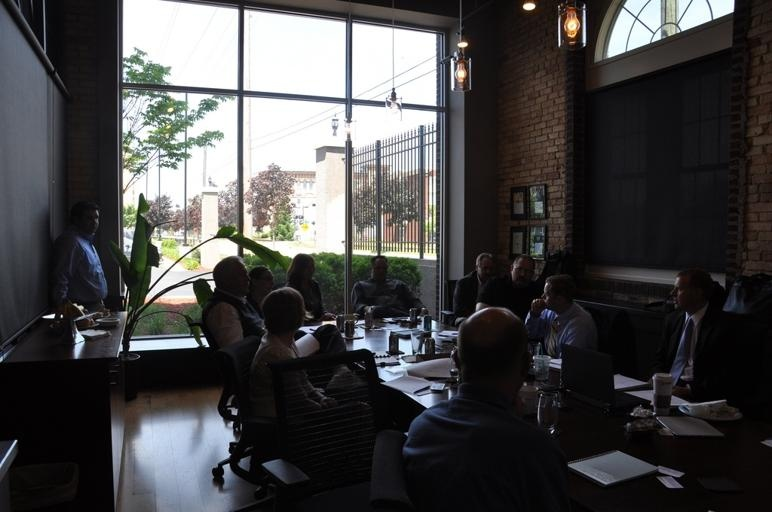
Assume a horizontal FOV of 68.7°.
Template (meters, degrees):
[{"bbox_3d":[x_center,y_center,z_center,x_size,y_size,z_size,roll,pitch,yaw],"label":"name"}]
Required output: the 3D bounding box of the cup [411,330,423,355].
[{"bbox_3d":[0.271,0.747,4.809,0.125,0.161,0.135,-1,-1,0],"label":"cup"}]

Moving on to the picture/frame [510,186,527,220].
[{"bbox_3d":[1.816,-0.729,7.716,0.068,0.455,0.369,-3,10,-20],"label":"picture/frame"}]

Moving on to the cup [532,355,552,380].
[{"bbox_3d":[1.122,0.806,4.102,0.148,0.167,0.149,1,-2,0],"label":"cup"}]

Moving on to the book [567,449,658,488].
[{"bbox_3d":[1.215,1.143,3.030,0.449,0.055,0.205,-3,10,-17],"label":"book"}]

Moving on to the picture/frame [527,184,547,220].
[{"bbox_3d":[1.994,-0.714,7.410,0.040,0.584,0.481,0,0,-23],"label":"picture/frame"}]

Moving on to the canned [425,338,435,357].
[{"bbox_3d":[0.352,0.731,4.544,0.065,0.125,0.122,3,-10,-13],"label":"canned"}]

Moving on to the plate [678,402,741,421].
[{"bbox_3d":[2.009,0.965,3.496,0.177,0.062,0.181,1,-2,-36],"label":"plate"}]

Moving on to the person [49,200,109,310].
[{"bbox_3d":[-2.936,0.050,5.334,0.366,1.055,0.898,-3,10,-20],"label":"person"}]

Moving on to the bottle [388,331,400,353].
[{"bbox_3d":[0.072,0.730,4.679,0.116,0.162,0.121,-1,0,0],"label":"bottle"}]

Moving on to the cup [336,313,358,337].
[{"bbox_3d":[-0.358,0.654,5.300,0.212,0.232,0.121,-2,2,-19],"label":"cup"}]
